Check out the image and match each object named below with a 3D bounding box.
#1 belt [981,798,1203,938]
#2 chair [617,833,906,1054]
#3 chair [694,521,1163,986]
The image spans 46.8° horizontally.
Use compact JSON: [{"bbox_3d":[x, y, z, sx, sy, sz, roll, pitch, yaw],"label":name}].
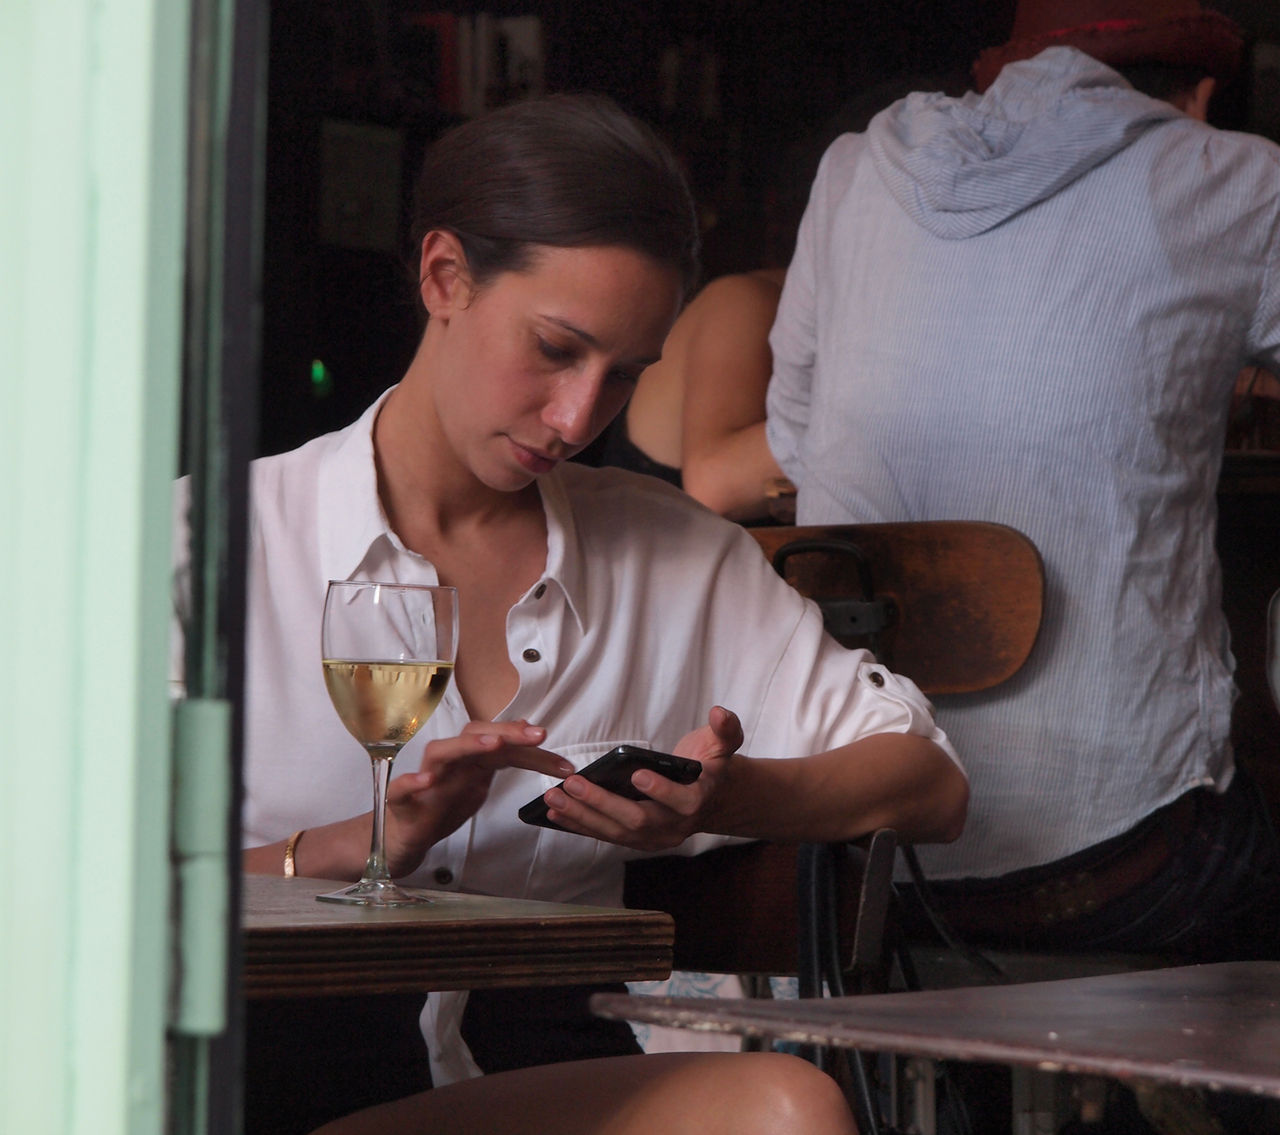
[{"bbox_3d":[0.519,0.338,1.756,0.186,0.042,0.179,-17,-8,-39],"label":"belt"},{"bbox_3d":[0.123,0.336,1.349,0.173,0.195,0.173,-4,-11,19],"label":"chair"},{"bbox_3d":[0.354,0.168,1.718,0.462,0.582,0.484,0,6,27],"label":"chair"}]
